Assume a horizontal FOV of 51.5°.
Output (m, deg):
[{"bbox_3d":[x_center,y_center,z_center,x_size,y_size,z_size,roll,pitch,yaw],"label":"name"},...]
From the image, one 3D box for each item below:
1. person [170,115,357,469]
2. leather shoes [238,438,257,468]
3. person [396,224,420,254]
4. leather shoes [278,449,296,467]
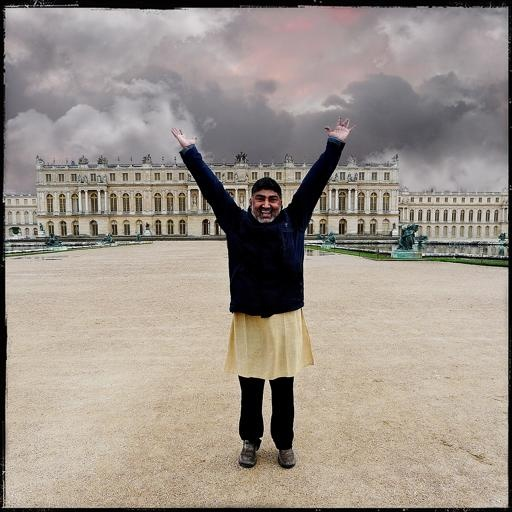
[{"bbox_3d":[0.083,0.220,3.698,1.103,2.292,0.612,-2,9,-9],"label":"person"},{"bbox_3d":[-0.058,1.328,3.651,0.130,0.136,0.243,0,10,0],"label":"leather shoes"},{"bbox_3d":[6.143,-0.735,21.004,0.667,1.309,1.038,-2,5,-23],"label":"person"},{"bbox_3d":[0.207,1.358,3.595,0.130,0.101,0.127,2,10,12],"label":"leather shoes"}]
